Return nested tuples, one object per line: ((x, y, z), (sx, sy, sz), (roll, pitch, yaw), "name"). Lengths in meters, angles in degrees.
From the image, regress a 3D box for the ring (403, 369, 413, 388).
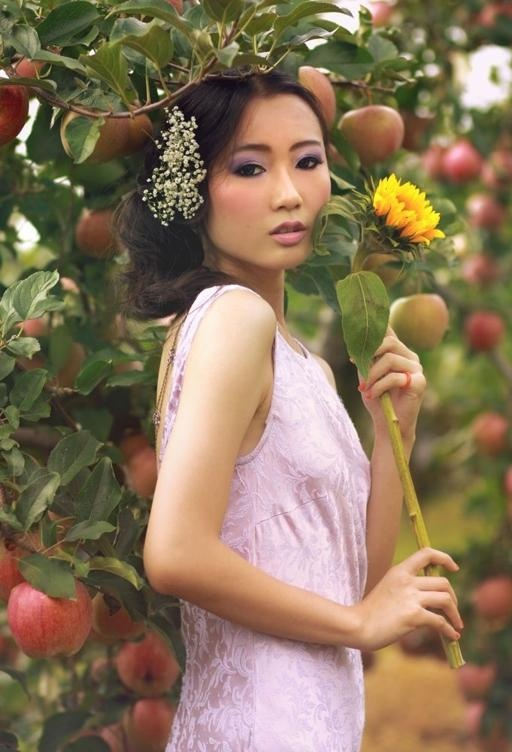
((0.219, 0.003, 1.151), (0.009, 0.021, 0.017), (4, 22, 11), "ring")
